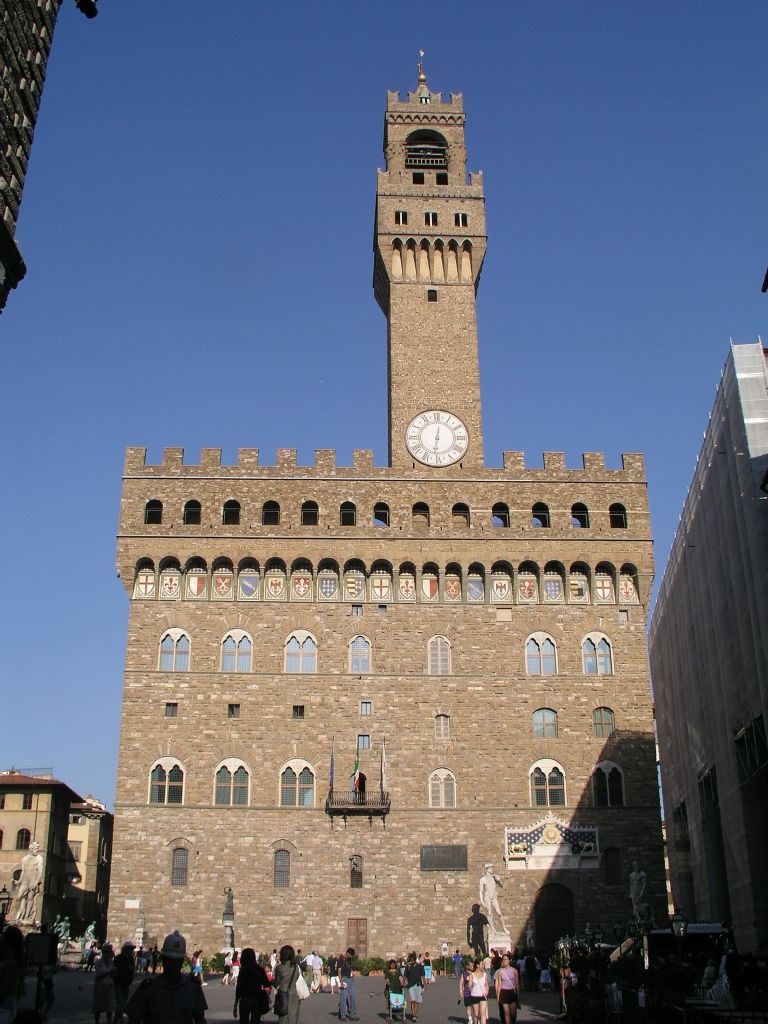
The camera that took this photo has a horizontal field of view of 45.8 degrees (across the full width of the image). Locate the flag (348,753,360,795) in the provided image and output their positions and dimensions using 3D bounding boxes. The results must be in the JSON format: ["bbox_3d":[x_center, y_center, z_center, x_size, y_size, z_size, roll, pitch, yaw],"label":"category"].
[{"bbox_3d":[-1.169,10.260,35.598,0.417,1.098,0.272,4,-14,-2],"label":"flag"}]

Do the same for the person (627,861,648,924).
[{"bbox_3d":[9.699,14.537,34.505,0.790,1.632,0.548,-6,-24,14],"label":"person"}]
